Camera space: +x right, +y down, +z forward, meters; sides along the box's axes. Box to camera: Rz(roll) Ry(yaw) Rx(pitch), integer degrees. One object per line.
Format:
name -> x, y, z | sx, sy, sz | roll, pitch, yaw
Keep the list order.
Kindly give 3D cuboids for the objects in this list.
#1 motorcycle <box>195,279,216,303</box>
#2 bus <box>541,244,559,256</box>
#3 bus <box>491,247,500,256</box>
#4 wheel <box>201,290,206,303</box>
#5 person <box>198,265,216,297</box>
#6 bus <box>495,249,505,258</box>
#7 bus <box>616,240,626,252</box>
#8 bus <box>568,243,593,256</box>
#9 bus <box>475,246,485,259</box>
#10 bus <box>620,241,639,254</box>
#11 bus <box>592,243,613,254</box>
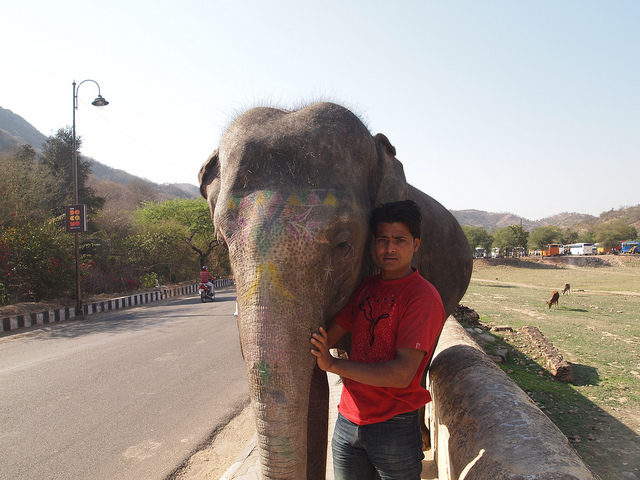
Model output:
motorcycle -> -4.822, 2.098, 19.018 | 0.797, 1.103, 1.613 | 0, 0, 5
bus -> 41.594, 2.170, 81.859 | 2.341, 2.785, 5.129 | 2, 6, 27
bus -> 37.781, 2.265, 97.879 | 0.930, 1.610, 2.894 | 2, -16, 2
wheel -> -4.662, 2.225, 18.352 | 0.095, 0.365, 0.351 | 4, -27, 15
person -> -4.639, 1.515, 18.714 | 0.615, 0.838, 1.174 | -2, 1, 7
bus -> 35.753, 2.427, 90.435 | 1.054, 1.898, 3.476 | -2, -7, 14
bus -> 55.168, 1.160, 83.576 | 1.724, 1.349, 2.601 | 1, 14, 30
bus -> 44.365, 1.703, 77.931 | 2.044, 2.274, 6.418 | 0, 1, 0
bus -> 34.924, 2.482, 99.574 | 1.484, 2.846, 4.849 | -2, -6, 18
bus -> 51.216, 1.019, 74.967 | 1.786, 1.983, 6.438 | 1, -2, 22
bus -> 52.896, 1.527, 85.192 | 3.552, 2.043, 1.523 | -5, 4, -33
